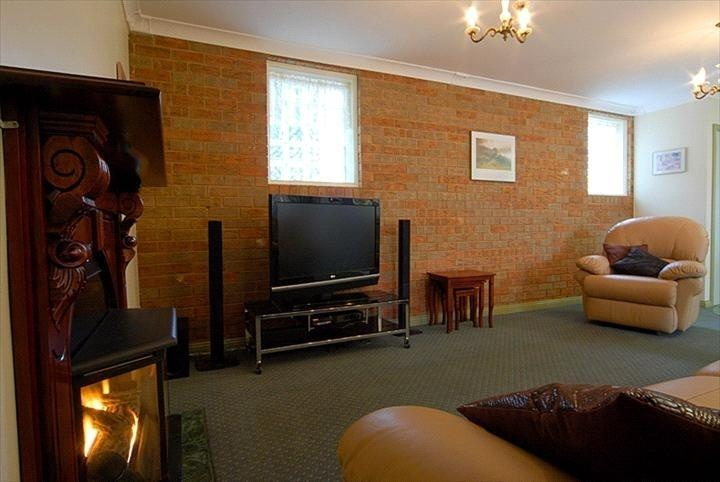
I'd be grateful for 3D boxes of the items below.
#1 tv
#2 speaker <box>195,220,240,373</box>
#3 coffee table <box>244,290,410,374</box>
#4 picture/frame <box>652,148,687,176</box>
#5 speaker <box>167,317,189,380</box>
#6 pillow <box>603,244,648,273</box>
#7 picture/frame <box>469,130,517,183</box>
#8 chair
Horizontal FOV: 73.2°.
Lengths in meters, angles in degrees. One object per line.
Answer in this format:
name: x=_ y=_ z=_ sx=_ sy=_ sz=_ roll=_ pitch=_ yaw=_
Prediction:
tv: x=-0.331 y=0.086 z=4.053 sx=1.152 sy=0.841 sz=0.179 roll=-1 pitch=1 yaw=-30
speaker: x=-1.147 y=0.410 z=3.767 sx=0.324 sy=1.126 sz=0.318 roll=-4 pitch=9 yaw=-18
coffee table: x=-0.290 y=0.704 z=4.153 sx=1.405 sy=0.461 sz=0.593 roll=-4 pitch=9 yaw=-26
picture/frame: x=3.832 y=-0.981 z=5.977 sx=0.031 sy=0.331 sz=0.424 roll=4 pitch=-3 yaw=-29
speaker: x=-1.317 y=0.786 z=3.512 sx=0.161 sy=0.447 sz=0.331 roll=-4 pitch=9 yaw=-21
pillow: x=2.711 y=0.127 z=5.097 sx=0.339 sy=0.093 sz=0.304 roll=1 pitch=44 yaw=21
picture/frame: x=1.464 y=-0.925 z=5.277 sx=0.033 sy=0.505 sz=0.618 roll=-20 pitch=24 yaw=-32
chair: x=2.831 y=0.319 z=4.862 sx=1.022 sy=1.024 sz=0.990 roll=5 pitch=10 yaw=33
